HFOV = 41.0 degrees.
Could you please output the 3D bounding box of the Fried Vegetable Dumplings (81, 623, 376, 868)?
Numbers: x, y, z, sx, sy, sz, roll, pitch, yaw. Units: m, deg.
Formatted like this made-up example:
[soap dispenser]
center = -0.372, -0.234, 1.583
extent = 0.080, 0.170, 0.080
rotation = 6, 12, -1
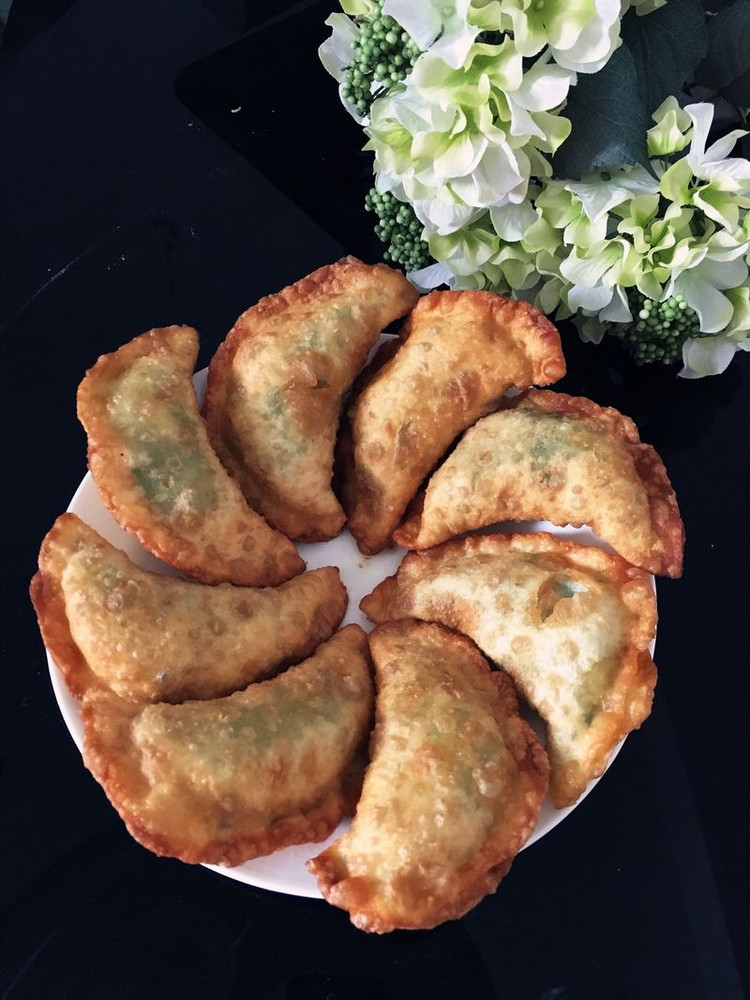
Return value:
[Fried Vegetable Dumplings]
center = -0.149, 0.269, 1.064
extent = 0.341, 0.082, 0.210
rotation = -11, 75, -28
